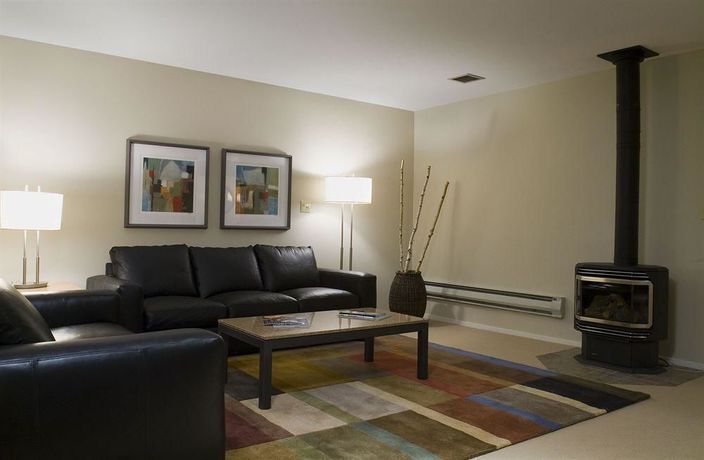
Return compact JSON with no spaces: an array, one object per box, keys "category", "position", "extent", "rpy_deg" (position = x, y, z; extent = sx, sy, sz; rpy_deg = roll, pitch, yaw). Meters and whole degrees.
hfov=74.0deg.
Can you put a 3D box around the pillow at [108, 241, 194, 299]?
[{"category":"pillow","position":[-2.151,0.439,5.042],"extent":[0.819,0.546,0.415],"rpy_deg":[1,0,-39]}]

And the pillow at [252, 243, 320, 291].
[{"category":"pillow","position":[-0.791,0.494,5.773],"extent":[0.860,0.553,0.297],"rpy_deg":[2,-4,-44]}]

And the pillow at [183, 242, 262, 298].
[{"category":"pillow","position":[-1.459,0.479,5.424],"extent":[0.337,0.548,0.855],"rpy_deg":[2,1,45]}]
